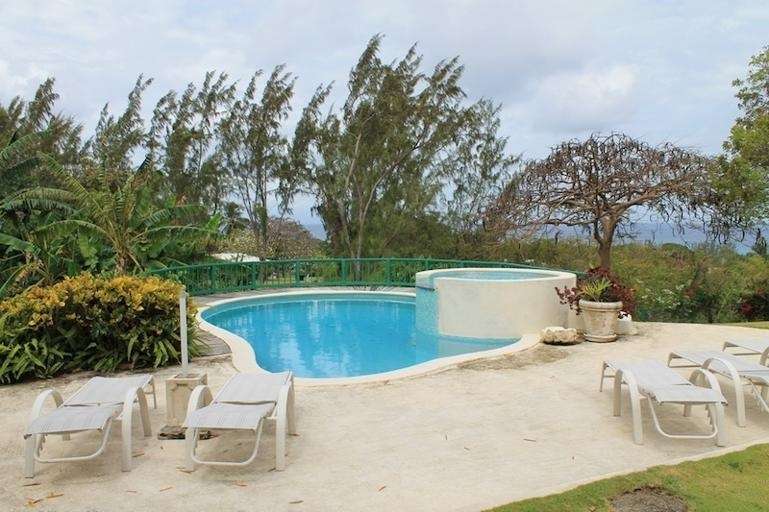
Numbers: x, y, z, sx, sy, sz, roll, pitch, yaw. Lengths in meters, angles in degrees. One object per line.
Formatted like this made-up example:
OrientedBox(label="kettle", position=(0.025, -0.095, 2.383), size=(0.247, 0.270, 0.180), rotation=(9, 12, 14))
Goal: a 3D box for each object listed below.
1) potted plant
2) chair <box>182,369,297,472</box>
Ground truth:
OrientedBox(label="potted plant", position=(5.795, 1.351, 17.546), size=(1.794, 1.857, 1.362), rotation=(2, 1, 9))
OrientedBox(label="chair", position=(-2.758, 3.222, 12.331), size=(2.077, 1.737, 1.256), rotation=(-1, -3, -8))
